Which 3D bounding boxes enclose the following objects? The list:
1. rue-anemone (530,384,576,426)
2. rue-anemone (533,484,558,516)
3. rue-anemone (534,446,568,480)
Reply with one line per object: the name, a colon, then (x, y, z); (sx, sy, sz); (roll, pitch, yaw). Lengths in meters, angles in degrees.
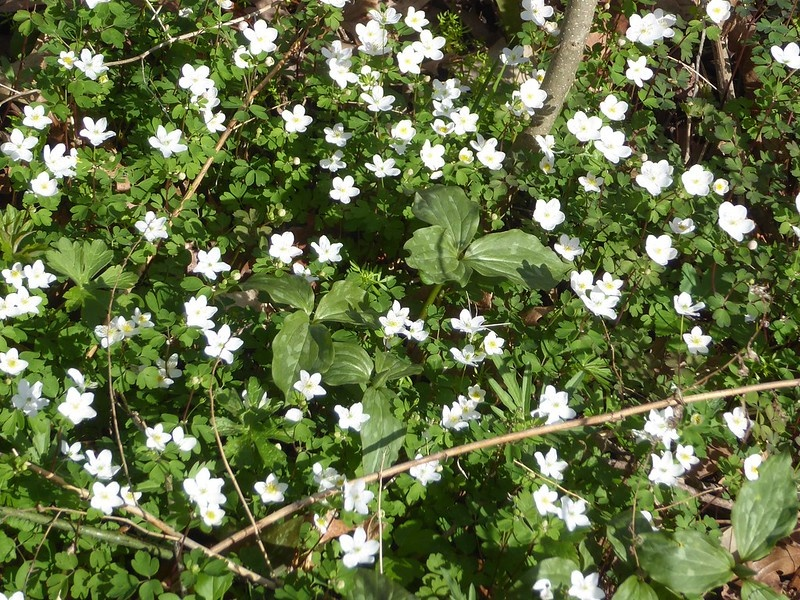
rue-anemone: (0.868, 0.581, 3.985); (0.276, 0.177, 0.131); (4, -1, -34)
rue-anemone: (0.769, 1.050, 3.796); (0.132, 0.131, 0.099); (4, -1, 12)
rue-anemone: (0.798, 0.875, 3.862); (0.175, 0.177, 0.058); (-40, 0, -16)
